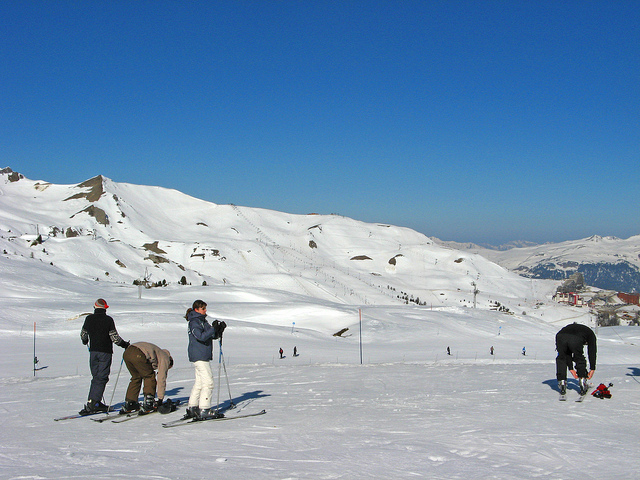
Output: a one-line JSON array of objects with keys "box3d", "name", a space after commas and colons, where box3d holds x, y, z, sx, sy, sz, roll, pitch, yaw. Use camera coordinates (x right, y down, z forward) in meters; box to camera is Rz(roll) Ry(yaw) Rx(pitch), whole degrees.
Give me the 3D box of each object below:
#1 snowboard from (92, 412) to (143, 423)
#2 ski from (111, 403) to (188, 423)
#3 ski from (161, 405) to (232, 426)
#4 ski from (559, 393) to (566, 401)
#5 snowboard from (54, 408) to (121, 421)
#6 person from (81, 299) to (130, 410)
[{"box3d": [-6.089, 5.408, 20.437, 1.321, 0.281, 0.567, 5, 0, -32], "name": "snowboard"}, {"box3d": [-5.234, 5.334, 20.763, 1.787, 0.174, 0.117, -9, -38, -30], "name": "ski"}, {"box3d": [-3.777, 5.329, 20.463, 2.380, 0.138, 0.248, -8, 23, -30], "name": "ski"}, {"box3d": [7.889, 5.138, 21.977, 0.164, 0.251, 0.159, -5, -8, 20], "name": "ski"}, {"box3d": [-7.251, 5.386, 20.870, 1.762, 0.214, 0.228, 3, 2, -30], "name": "snowboard"}, {"box3d": [-6.898, 3.602, 21.207, 1.268, 3.546, 1.074, 7, 0, -16], "name": "person"}]
